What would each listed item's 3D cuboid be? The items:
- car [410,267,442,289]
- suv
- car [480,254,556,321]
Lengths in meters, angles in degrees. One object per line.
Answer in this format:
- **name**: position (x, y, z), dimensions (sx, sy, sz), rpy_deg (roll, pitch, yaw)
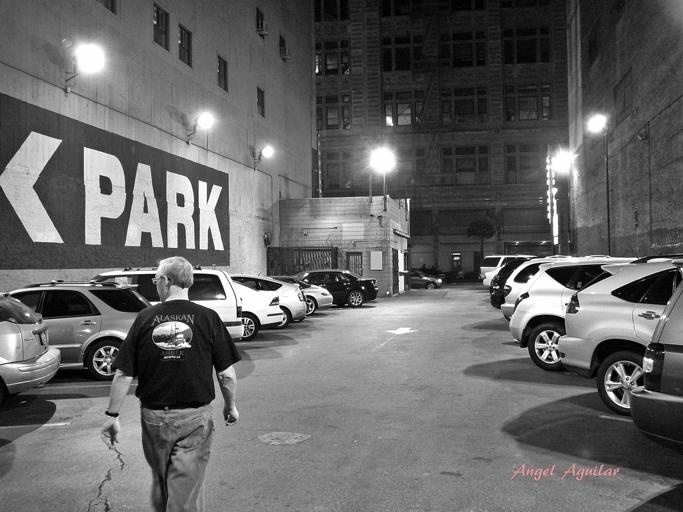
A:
- **car**: position (7.319, 1.987, 47.564), dimensions (2.615, 1.535, 1.650), rpy_deg (-4, 0, 6)
- **suv**: position (-5.156, 1.375, 11.883), dimensions (3.377, 1.824, 2.133), rpy_deg (4, -4, -2)
- **car**: position (5.574, 0.916, 17.009), dimensions (2.204, 1.326, 1.370), rpy_deg (-6, 2, -8)
